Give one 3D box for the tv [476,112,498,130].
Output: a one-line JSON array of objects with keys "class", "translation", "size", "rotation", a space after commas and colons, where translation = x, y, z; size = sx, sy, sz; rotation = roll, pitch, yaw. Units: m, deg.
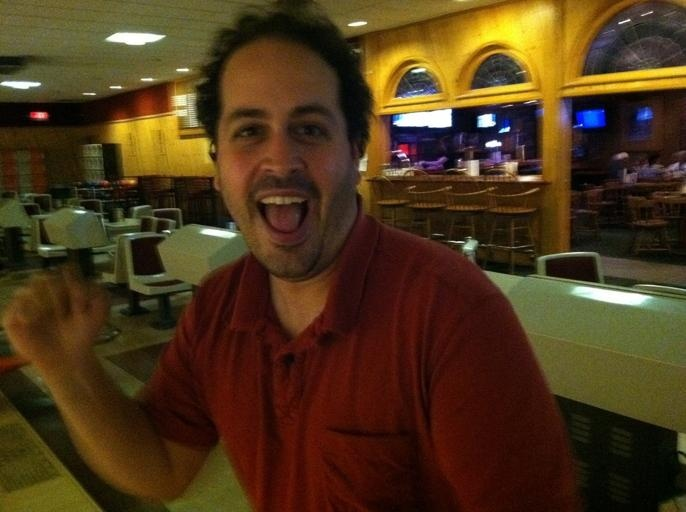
[{"class": "tv", "translation": [3.251, -3.076, 11.109], "size": [0.316, 0.384, 0.566], "rotation": [1, 2, -30]}]
